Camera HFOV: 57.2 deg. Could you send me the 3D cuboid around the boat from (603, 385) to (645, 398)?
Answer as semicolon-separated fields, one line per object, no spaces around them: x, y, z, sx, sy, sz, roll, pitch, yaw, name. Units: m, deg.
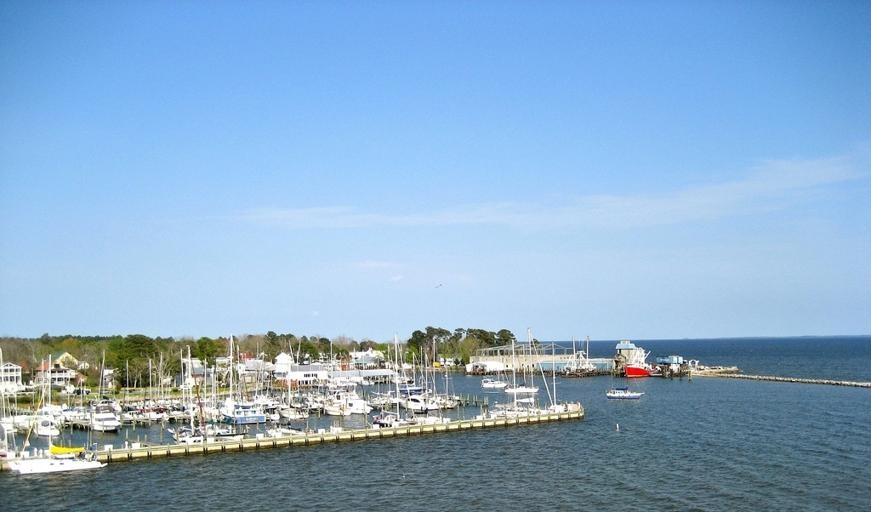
39.166;28.118;165.205;7.271;2.412;2.703;1;-2;2;boat
